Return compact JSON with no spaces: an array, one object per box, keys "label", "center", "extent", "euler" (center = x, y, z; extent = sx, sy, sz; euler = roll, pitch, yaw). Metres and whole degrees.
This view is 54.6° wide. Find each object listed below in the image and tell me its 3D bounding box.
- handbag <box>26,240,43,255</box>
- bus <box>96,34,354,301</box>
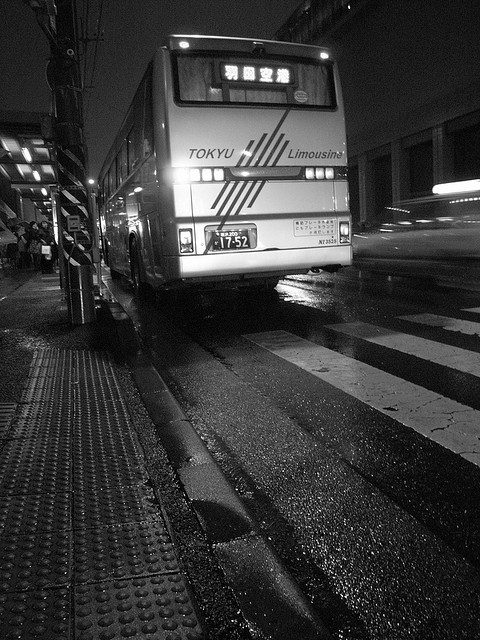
[{"label":"handbag","center":[-10.562,-3.771,23.817],"extent":[0.736,1.173,0.596],"euler":[8,14,17]},{"label":"bus","center":[-0.617,-2.163,7.634],"extent":[4.447,3.891,2.569],"euler":[6,10,44]}]
